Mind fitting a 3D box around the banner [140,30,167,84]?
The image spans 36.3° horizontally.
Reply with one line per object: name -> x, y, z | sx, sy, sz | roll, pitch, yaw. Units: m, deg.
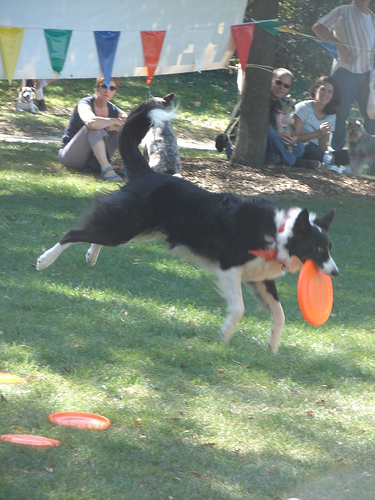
banner -> -0.444, -2.587, 7.325 | 0.437, 0.867, 0.096 | -2, -28, 31

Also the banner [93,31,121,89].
banner -> -0.962, -2.231, 6.800 | 0.197, 0.682, 0.383 | 15, 28, 31

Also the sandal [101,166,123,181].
sandal -> -0.886, -0.873, 6.530 | 0.199, 0.163, 0.122 | 6, 9, -8

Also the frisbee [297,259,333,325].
frisbee -> 0.745, 0.237, 3.338 | 0.061, 0.343, 0.423 | -5, -24, 28

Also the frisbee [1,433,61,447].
frisbee -> -0.607, 0.732, 2.214 | 0.220, 0.023, 0.129 | 3, 8, -17

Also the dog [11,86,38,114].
dog -> -3.343, -3.086, 11.891 | 0.414, 0.417, 0.938 | -2, 4, -10

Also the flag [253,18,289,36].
flag -> 1.092, -2.917, 7.497 | 0.272, 0.161, 0.356 | 9, 8, 18

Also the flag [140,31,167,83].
flag -> -0.450, -2.465, 7.313 | 0.130, 0.610, 0.330 | 20, 31, 40

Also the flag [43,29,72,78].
flag -> -1.490, -2.263, 6.536 | 0.334, 0.478, 0.023 | -12, 36, -32

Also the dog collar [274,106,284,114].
dog collar -> 1.376, -2.080, 8.555 | 0.160, 0.084, 0.019 | 2, 11, -27
